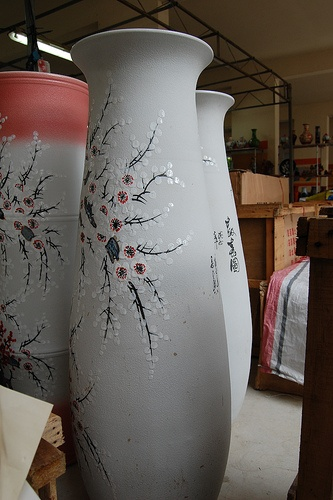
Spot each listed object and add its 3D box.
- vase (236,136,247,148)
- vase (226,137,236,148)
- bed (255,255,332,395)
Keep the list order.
[{"bbox_3d":[1.402,-1.998,6.961,0.170,0.213,0.104,5,-8,2],"label":"vase"},{"bbox_3d":[1.171,-1.968,6.922,0.172,0.239,0.235,-4,0,-1],"label":"vase"},{"bbox_3d":[0.583,0.403,2.078,0.368,0.638,0.609,2,0,13],"label":"bed"}]
